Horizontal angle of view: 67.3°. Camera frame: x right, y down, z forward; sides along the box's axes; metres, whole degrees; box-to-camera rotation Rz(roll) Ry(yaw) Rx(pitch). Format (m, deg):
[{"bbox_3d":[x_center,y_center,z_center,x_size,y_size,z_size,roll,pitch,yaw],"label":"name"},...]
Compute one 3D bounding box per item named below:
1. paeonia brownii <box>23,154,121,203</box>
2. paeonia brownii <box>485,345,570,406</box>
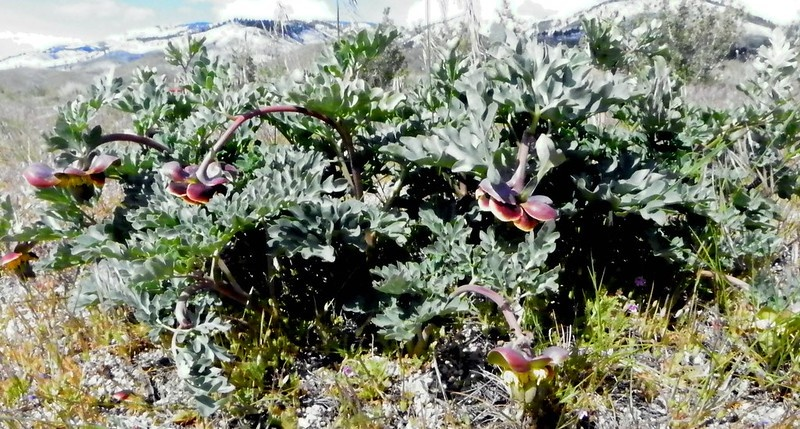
[{"bbox_3d":[-2.090,-0.205,3.804,0.538,0.227,0.552,-15,1,-11],"label":"paeonia brownii"},{"bbox_3d":[0.684,0.860,3.320,0.397,0.244,0.366,3,-15,-27],"label":"paeonia brownii"}]
